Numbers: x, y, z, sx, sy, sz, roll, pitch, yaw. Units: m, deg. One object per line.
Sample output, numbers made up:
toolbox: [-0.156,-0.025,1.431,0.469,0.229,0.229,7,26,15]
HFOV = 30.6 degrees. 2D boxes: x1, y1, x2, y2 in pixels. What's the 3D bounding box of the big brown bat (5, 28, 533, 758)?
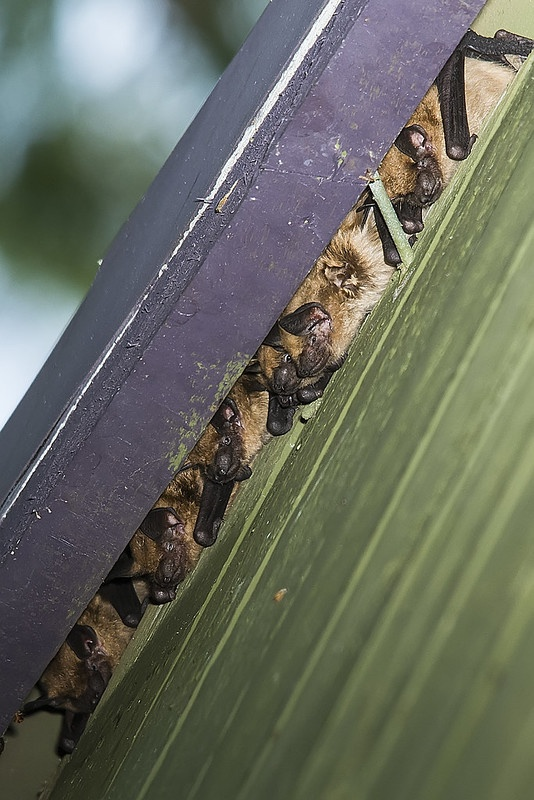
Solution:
big brown bat: [0.039,0.040,1.092,0.124,1.038,0.042,40,7,23]
